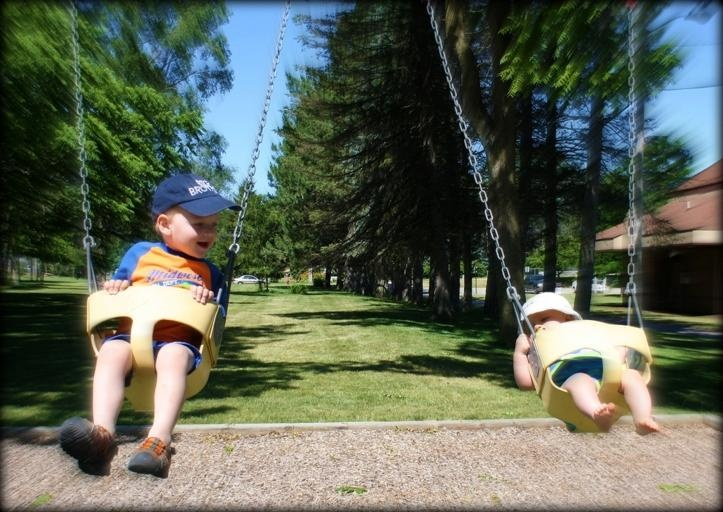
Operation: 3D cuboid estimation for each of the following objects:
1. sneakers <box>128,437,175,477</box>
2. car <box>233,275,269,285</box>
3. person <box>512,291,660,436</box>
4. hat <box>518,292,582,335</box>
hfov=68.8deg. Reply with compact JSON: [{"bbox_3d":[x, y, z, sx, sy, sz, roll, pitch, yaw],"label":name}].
[{"bbox_3d":[-1.341,1.289,3.401,0.159,0.134,0.357,6,-11,-1],"label":"sneakers"},{"bbox_3d":[-11.343,2.430,53.615,3.490,1.148,1.930,-1,0,-4],"label":"car"},{"bbox_3d":[1.805,0.826,4.463,0.722,0.636,1.458,-4,30,3],"label":"person"},{"bbox_3d":[1.667,0.514,4.703,0.373,0.276,0.525,2,-33,-4],"label":"hat"}]
